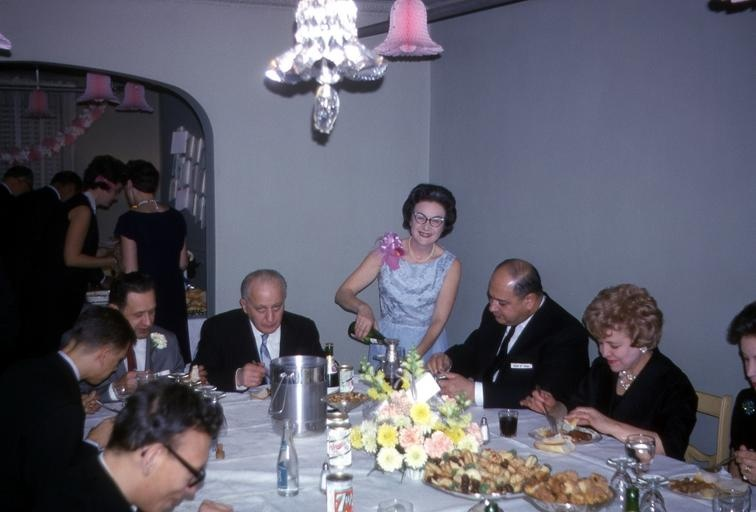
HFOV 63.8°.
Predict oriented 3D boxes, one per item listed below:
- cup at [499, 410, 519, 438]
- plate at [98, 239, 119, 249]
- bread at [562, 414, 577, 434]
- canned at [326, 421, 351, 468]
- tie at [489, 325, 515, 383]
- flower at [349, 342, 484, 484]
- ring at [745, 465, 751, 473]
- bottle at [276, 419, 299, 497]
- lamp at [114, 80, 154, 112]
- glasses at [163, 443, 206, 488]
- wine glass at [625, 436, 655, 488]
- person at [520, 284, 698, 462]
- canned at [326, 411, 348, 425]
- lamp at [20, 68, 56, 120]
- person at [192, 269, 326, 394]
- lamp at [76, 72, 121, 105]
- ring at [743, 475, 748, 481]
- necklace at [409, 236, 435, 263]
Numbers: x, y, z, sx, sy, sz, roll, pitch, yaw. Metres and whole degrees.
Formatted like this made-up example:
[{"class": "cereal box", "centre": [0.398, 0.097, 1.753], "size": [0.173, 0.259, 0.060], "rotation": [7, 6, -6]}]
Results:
[{"class": "cup", "centre": [0.637, 0.831, 2.998], "size": [0.108, 0.126, 0.109], "rotation": [-1, -5, 0]}, {"class": "plate", "centre": [-2.627, -0.111, 5.949], "size": [0.241, 0.079, 0.188], "rotation": [2, 2, 38]}, {"class": "bread", "centre": [0.936, 0.843, 3.014], "size": [0.082, 0.070, 0.080], "rotation": [-28, -25, 35]}, {"class": "canned", "centre": [-0.164, 0.838, 2.661], "size": [0.122, 0.233, 0.086], "rotation": [-1, 6, -21]}, {"class": "tie", "centre": [0.764, 0.623, 3.752], "size": [0.049, 0.375, 0.044], "rotation": [16, -28, 14]}, {"class": "flower", "centre": [0.093, 0.759, 2.681], "size": [0.403, 0.407, 0.438], "rotation": [16, 13, 24]}, {"class": "ring", "centre": [1.684, 0.983, 2.786], "size": [0.021, 0.011, 0.031], "rotation": [-2, 35, 11]}, {"class": "bottle", "centre": [-0.387, 0.849, 2.599], "size": [0.096, 0.301, 0.183], "rotation": [0, 5, -9]}, {"class": "lamp", "centre": [-2.963, -1.928, 7.401], "size": [0.331, 0.327, 0.597], "rotation": [1, 5, -7]}, {"class": "glasses", "centre": [-0.661, 0.727, 2.175], "size": [0.041, 0.154, 0.149], "rotation": [-31, -19, -13]}, {"class": "wine glass", "centre": [1.151, 0.893, 2.683], "size": [0.118, 0.188, 0.115], "rotation": [-3, -9, 30]}, {"class": "person", "centre": [1.310, 0.890, 3.390], "size": [0.779, 1.385, 0.642], "rotation": [-3, 8, 41]}, {"class": "canned", "centre": [-0.188, 0.733, 2.702], "size": [0.087, 0.058, 0.091], "rotation": [1, -5, 3]}, {"class": "lamp", "centre": [-4.764, -2.296, 8.552], "size": [0.312, 0.725, 0.940], "rotation": [-2, 6, -28]}, {"class": "person", "centre": [-0.752, 0.475, 3.860], "size": [0.537, 0.927, 0.458], "rotation": [-1, 27, -23]}, {"class": "lamp", "centre": [-3.151, -1.894, 6.911], "size": [0.472, 0.372, 0.486], "rotation": [16, 17, 38]}, {"class": "ring", "centre": [1.683, 1.029, 2.807], "size": [0.018, 0.005, 0.019], "rotation": [-2, 15, 1]}, {"class": "necklace", "centre": [0.312, -0.042, 4.376], "size": [0.159, 0.196, 0.098], "rotation": [1, 12, -5]}]
